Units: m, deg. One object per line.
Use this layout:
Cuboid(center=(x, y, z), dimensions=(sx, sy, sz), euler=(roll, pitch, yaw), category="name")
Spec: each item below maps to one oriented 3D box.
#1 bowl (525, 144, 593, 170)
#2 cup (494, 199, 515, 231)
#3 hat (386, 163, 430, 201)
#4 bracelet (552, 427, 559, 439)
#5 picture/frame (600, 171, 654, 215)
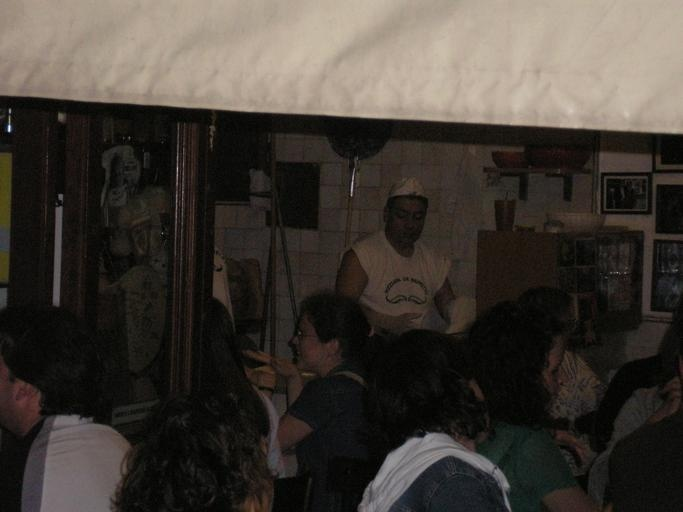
Cuboid(center=(0.806, -0.365, 2.867), dimensions=(0.164, 0.068, 0.119), euler=(1, 2, 7), category="bowl")
Cuboid(center=(0.626, -0.161, 2.995), dimensions=(0.086, 0.171, 0.108), euler=(0, 3, 6), category="cup")
Cuboid(center=(0.250, -0.275, 2.968), dimensions=(0.086, 0.085, 0.121), euler=(7, 10, 33), category="hat")
Cuboid(center=(0.816, 0.675, 2.936), dimensions=(0.023, 0.048, 0.027), euler=(0, -4, 1), category="bracelet")
Cuboid(center=(1.101, -0.248, 2.941), dimensions=(0.133, 0.140, 0.012), euler=(1, 2, 23), category="picture/frame")
